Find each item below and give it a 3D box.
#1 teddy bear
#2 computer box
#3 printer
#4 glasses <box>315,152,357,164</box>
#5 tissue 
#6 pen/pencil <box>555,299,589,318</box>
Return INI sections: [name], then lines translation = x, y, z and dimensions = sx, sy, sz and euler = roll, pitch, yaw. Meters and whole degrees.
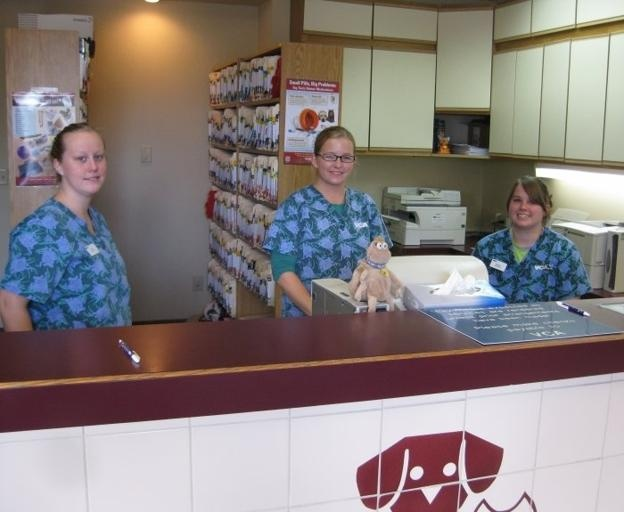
[teddy bear]
translation = 0.210, 0.071, 1.863
dimensions = 0.205, 0.309, 0.150
euler = 3, -13, -35
[computer box]
translation = 0.121, 0.179, 1.888
dimensions = 0.316, 0.167, 0.106
euler = -9, -29, 42
[printer]
translation = 0.959, -0.337, 4.829
dimensions = 0.569, 0.478, 0.574
euler = -1, 7, -16
[glasses]
translation = 0.108, -0.445, 2.506
dimensions = 0.167, 0.048, 0.060
euler = 1, 15, -1
[tissue ]
translation = 0.458, 0.080, 1.791
dimensions = 0.218, 0.085, 0.166
euler = -3, 4, -21
[pen/pencil]
translation = 0.862, 0.167, 1.814
dimensions = 0.020, 0.022, 0.166
euler = 2, 13, -17
